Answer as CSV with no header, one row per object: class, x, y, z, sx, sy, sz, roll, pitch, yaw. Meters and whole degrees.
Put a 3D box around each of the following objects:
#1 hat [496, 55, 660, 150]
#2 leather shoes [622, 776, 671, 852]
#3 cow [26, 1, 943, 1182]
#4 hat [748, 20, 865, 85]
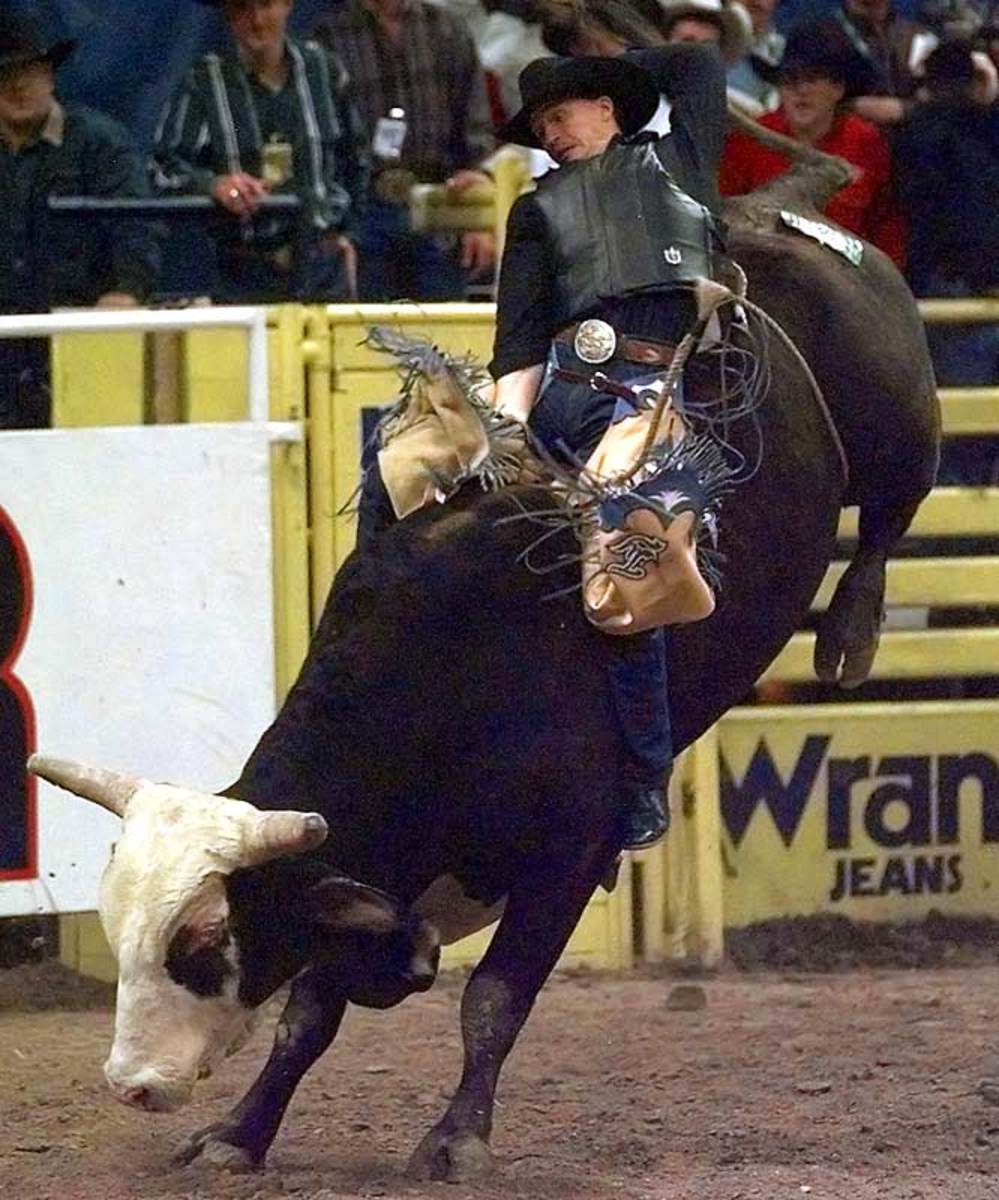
hat,0.193,-1.114,4.636,0.290,0.080,0.222,-2,-26,-23
leather shoes,0.308,0.475,4.574,0.081,0.170,0.086,-4,-24,30
cow,-0.134,-0.007,5.237,1.040,3.010,1.750,32,-1,31
hat,1.059,-1.774,6.915,0.363,0.112,0.329,13,6,0
